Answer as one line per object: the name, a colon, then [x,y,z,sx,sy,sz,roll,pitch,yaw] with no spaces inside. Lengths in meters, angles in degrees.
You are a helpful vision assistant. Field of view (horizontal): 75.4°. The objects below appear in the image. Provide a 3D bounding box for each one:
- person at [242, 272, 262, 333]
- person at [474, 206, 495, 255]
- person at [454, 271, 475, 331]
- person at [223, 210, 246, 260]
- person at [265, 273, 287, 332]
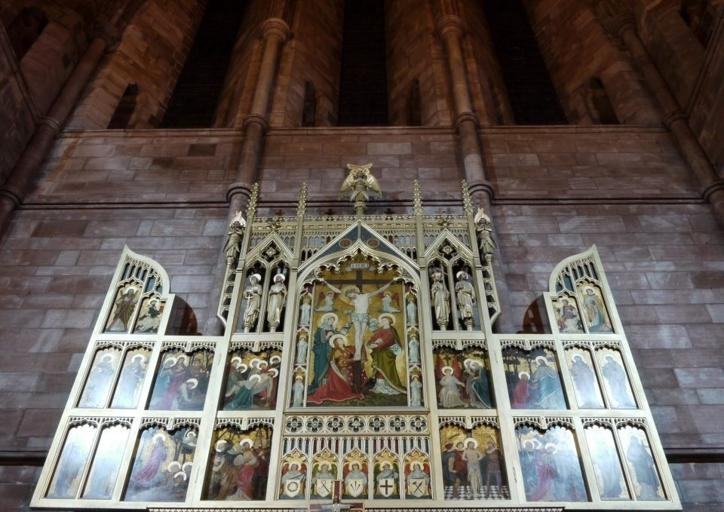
person: [-1.317,0.574,5.667,0.183,0.784,0.201,11,-29,-18]
person: [1.619,-0.308,6.187,0.200,0.793,0.281,-11,-29,22]
person: [1.251,0.552,5.646,0.231,0.828,0.356,-5,-27,11]
person: [-1.695,-0.242,6.304,0.193,0.797,0.315,11,-28,-18]
person: [-1.023,0.570,5.625,0.213,0.758,0.212,7,-28,-12]
